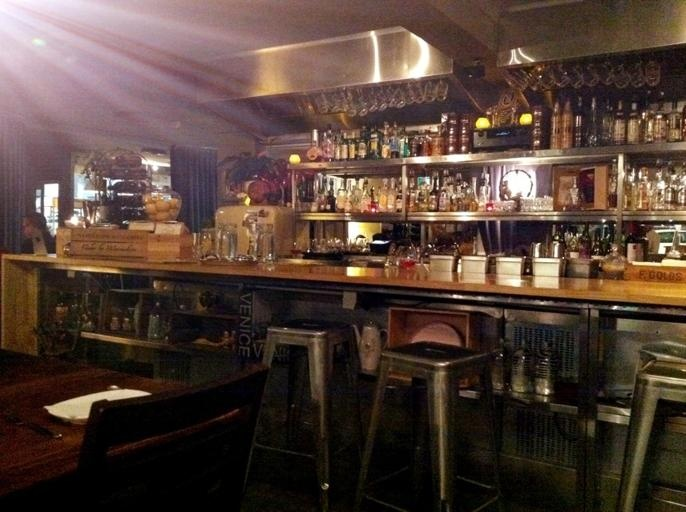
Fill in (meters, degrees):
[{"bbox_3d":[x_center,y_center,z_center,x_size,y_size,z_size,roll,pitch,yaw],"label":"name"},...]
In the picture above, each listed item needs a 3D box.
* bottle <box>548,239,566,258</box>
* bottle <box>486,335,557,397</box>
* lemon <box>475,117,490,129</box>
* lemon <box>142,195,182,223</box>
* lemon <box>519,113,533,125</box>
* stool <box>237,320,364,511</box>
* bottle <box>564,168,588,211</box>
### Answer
[{"bbox_3d":[1.601,-0.061,4.235,0.146,0.138,0.146,-6,8,-38],"label":"bottle"},{"bbox_3d":[0.993,0.598,3.125,0.434,0.358,0.260,0,1,2],"label":"bottle"},{"bbox_3d":[1.272,-1.218,5.153,0.118,0.106,0.102,-5,4,-37],"label":"lemon"},{"bbox_3d":[-1.418,-0.368,4.465,0.237,0.216,0.232,1,5,-2],"label":"lemon"},{"bbox_3d":[1.602,-1.203,4.960,0.122,0.083,0.120,4,19,11],"label":"lemon"},{"bbox_3d":[-0.139,0.812,3.472,0.907,1.290,0.885,0,1,4],"label":"stool"},{"bbox_3d":[1.973,-0.567,4.753,0.159,0.322,0.134,-4,4,-32],"label":"bottle"}]
